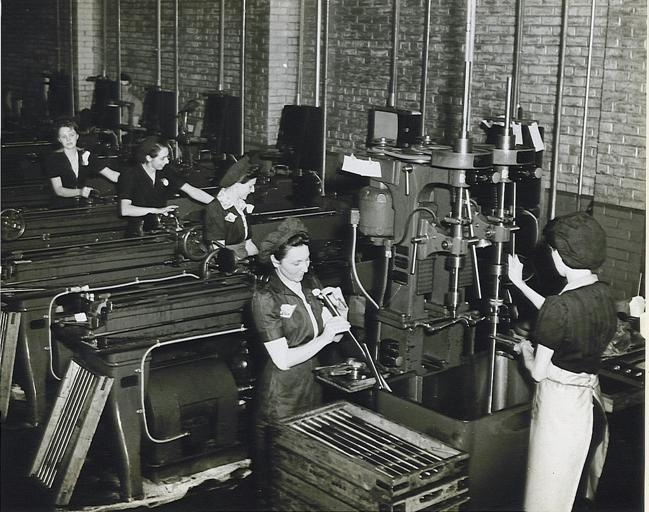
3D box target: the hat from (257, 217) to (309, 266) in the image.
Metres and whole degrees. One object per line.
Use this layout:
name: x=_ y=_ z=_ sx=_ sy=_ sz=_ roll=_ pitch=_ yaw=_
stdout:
hat: x=-0.200 y=-0.070 z=3.250 sx=0.203 sy=0.241 sz=0.157 roll=9 pitch=14 yaw=38

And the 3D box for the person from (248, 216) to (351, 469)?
person: x=-0.159 y=0.415 z=3.320 sx=0.457 sy=1.216 sz=0.626 roll=6 pitch=12 yaw=26

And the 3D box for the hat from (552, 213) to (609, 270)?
hat: x=1.108 y=-0.078 z=3.082 sx=0.224 sy=0.250 sz=0.138 roll=-20 pitch=15 yaw=8
